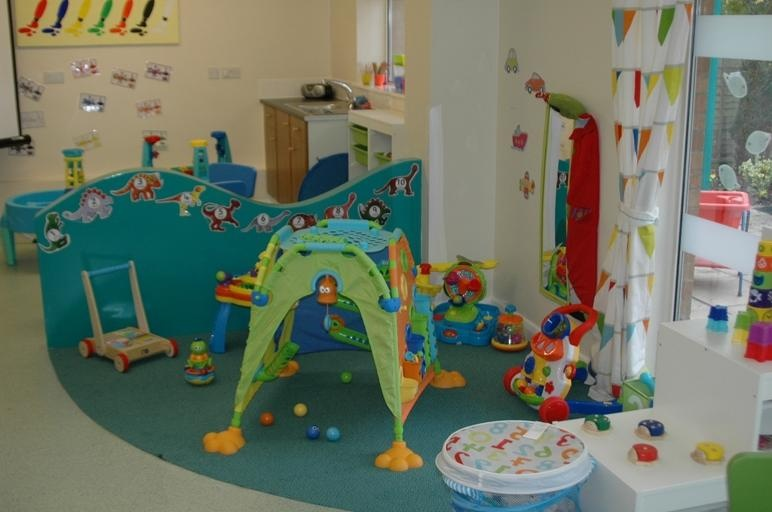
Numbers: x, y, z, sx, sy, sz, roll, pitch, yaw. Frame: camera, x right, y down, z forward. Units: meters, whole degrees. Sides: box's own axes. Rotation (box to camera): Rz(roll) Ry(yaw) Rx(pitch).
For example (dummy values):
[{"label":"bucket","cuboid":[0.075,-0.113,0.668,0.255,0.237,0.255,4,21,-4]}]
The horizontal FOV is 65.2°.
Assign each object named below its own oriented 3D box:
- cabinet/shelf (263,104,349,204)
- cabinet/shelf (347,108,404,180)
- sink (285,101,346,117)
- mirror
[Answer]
[{"label":"cabinet/shelf","cuboid":[-0.960,-1.067,6.852,0.494,1.139,1.202,-7,22,-33]},{"label":"cabinet/shelf","cuboid":[-0.040,-0.849,5.354,0.266,0.760,0.757,-12,21,-30]},{"label":"sink","cuboid":[-0.742,-1.614,6.633,0.617,0.177,1.156,-2,13,-8]},{"label":"mirror","cuboid":[1.148,-0.329,3.896,0.305,1.285,0.021,-8,8,-44]}]
